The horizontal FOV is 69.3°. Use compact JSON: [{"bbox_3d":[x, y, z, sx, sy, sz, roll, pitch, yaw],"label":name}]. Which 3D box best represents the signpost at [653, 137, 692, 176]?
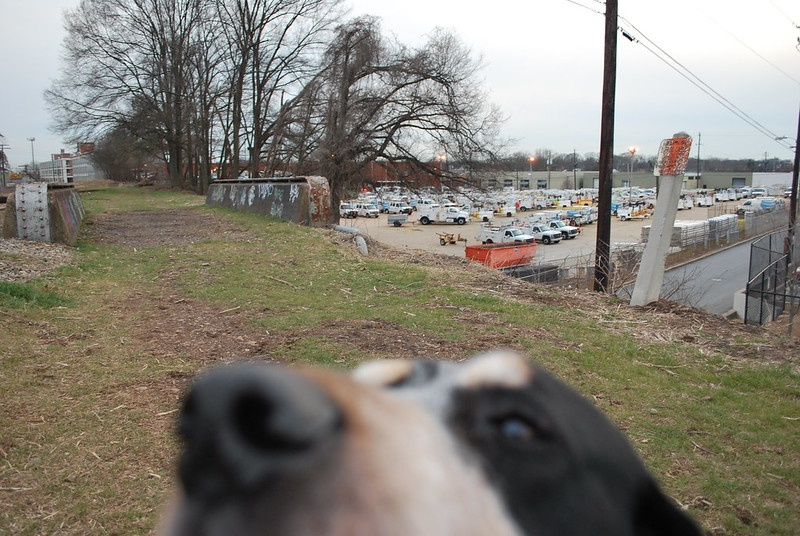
[{"bbox_3d":[5.333,-2.171,11.290,0.545,0.787,0.514,10,12,22],"label":"signpost"}]

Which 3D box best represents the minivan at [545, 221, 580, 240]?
[{"bbox_3d":[12.949,-3.031,46.058,2.485,1.073,1.351,5,12,38],"label":"minivan"}]

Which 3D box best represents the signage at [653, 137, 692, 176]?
[{"bbox_3d":[5.340,-2.173,11.303,0.546,0.787,0.455,10,12,22],"label":"signage"}]
